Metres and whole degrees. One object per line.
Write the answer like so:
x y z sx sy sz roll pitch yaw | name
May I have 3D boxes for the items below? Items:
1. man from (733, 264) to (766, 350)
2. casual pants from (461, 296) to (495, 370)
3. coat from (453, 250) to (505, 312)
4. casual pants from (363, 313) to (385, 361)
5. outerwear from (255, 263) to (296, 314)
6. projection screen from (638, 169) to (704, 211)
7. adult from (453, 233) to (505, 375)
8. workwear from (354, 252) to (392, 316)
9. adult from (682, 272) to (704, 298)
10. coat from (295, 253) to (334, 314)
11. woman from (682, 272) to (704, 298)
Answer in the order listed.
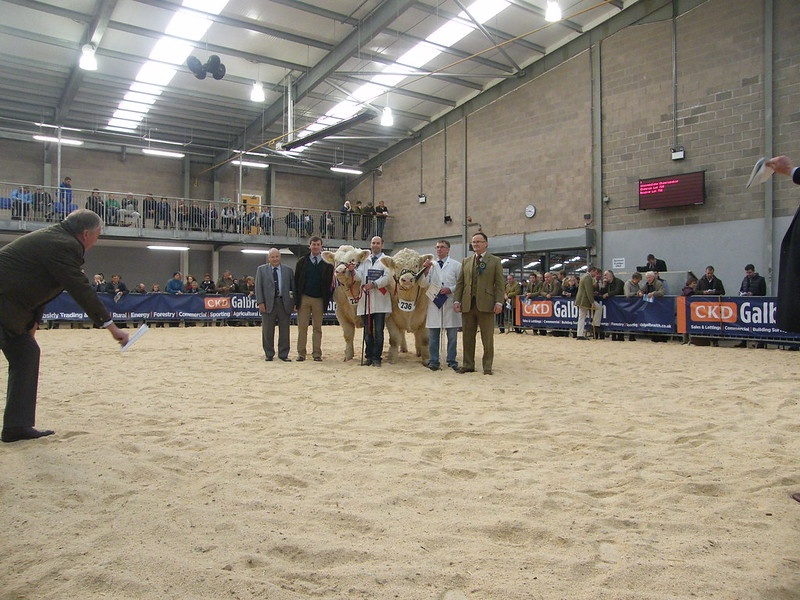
7.543 0.143 15.813 0.525 1.770 0.564 -4 2 -41 | man
1.214 0.513 11.732 0.512 1.397 0.370 -1 23 2 | casual pants
1.224 -0.270 11.462 0.754 0.927 0.408 0 1 5 | coat
-0.428 0.635 12.511 0.340 1.039 0.244 0 -36 0 | casual pants
-2.122 -0.194 12.684 0.758 1.113 0.530 2 -7 -25 | outerwear
6.894 -2.752 18.889 1.604 0.954 0.063 -4 -24 31 | projection screen
1.228 0.044 11.586 0.676 2.214 0.544 2 3 18 | adult
-0.441 -0.255 12.396 0.581 1.037 0.591 0 1 -16 | workwear
6.641 -0.390 16.841 0.210 0.808 0.528 -2 -10 -7 | adult
-1.480 -0.300 12.748 0.755 1.199 0.595 3 -13 -18 | coat
6.630 -0.302 16.804 0.210 0.808 0.528 -2 -10 -7 | woman
